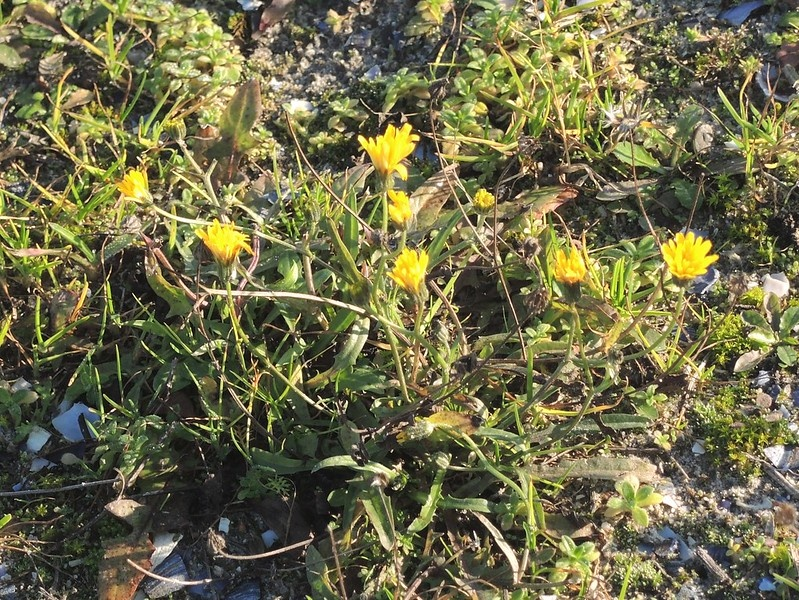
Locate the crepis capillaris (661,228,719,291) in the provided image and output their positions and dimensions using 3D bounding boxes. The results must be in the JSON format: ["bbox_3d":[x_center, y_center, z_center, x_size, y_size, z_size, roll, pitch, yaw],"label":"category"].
[{"bbox_3d":[0.912,-0.149,2.345,0.166,0.157,0.134,16,47,-12],"label":"crepis capillaris"}]

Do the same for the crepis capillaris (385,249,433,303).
[{"bbox_3d":[0.029,-0.103,2.477,0.155,0.175,0.173,-15,34,11],"label":"crepis capillaris"}]

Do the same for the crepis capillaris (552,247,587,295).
[{"bbox_3d":[0.596,-0.094,2.570,0.088,0.136,0.096,-34,45,-2],"label":"crepis capillaris"}]

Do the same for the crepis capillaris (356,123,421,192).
[{"bbox_3d":[-0.051,-0.523,2.659,0.312,0.230,0.326,-3,27,-6],"label":"crepis capillaris"}]
